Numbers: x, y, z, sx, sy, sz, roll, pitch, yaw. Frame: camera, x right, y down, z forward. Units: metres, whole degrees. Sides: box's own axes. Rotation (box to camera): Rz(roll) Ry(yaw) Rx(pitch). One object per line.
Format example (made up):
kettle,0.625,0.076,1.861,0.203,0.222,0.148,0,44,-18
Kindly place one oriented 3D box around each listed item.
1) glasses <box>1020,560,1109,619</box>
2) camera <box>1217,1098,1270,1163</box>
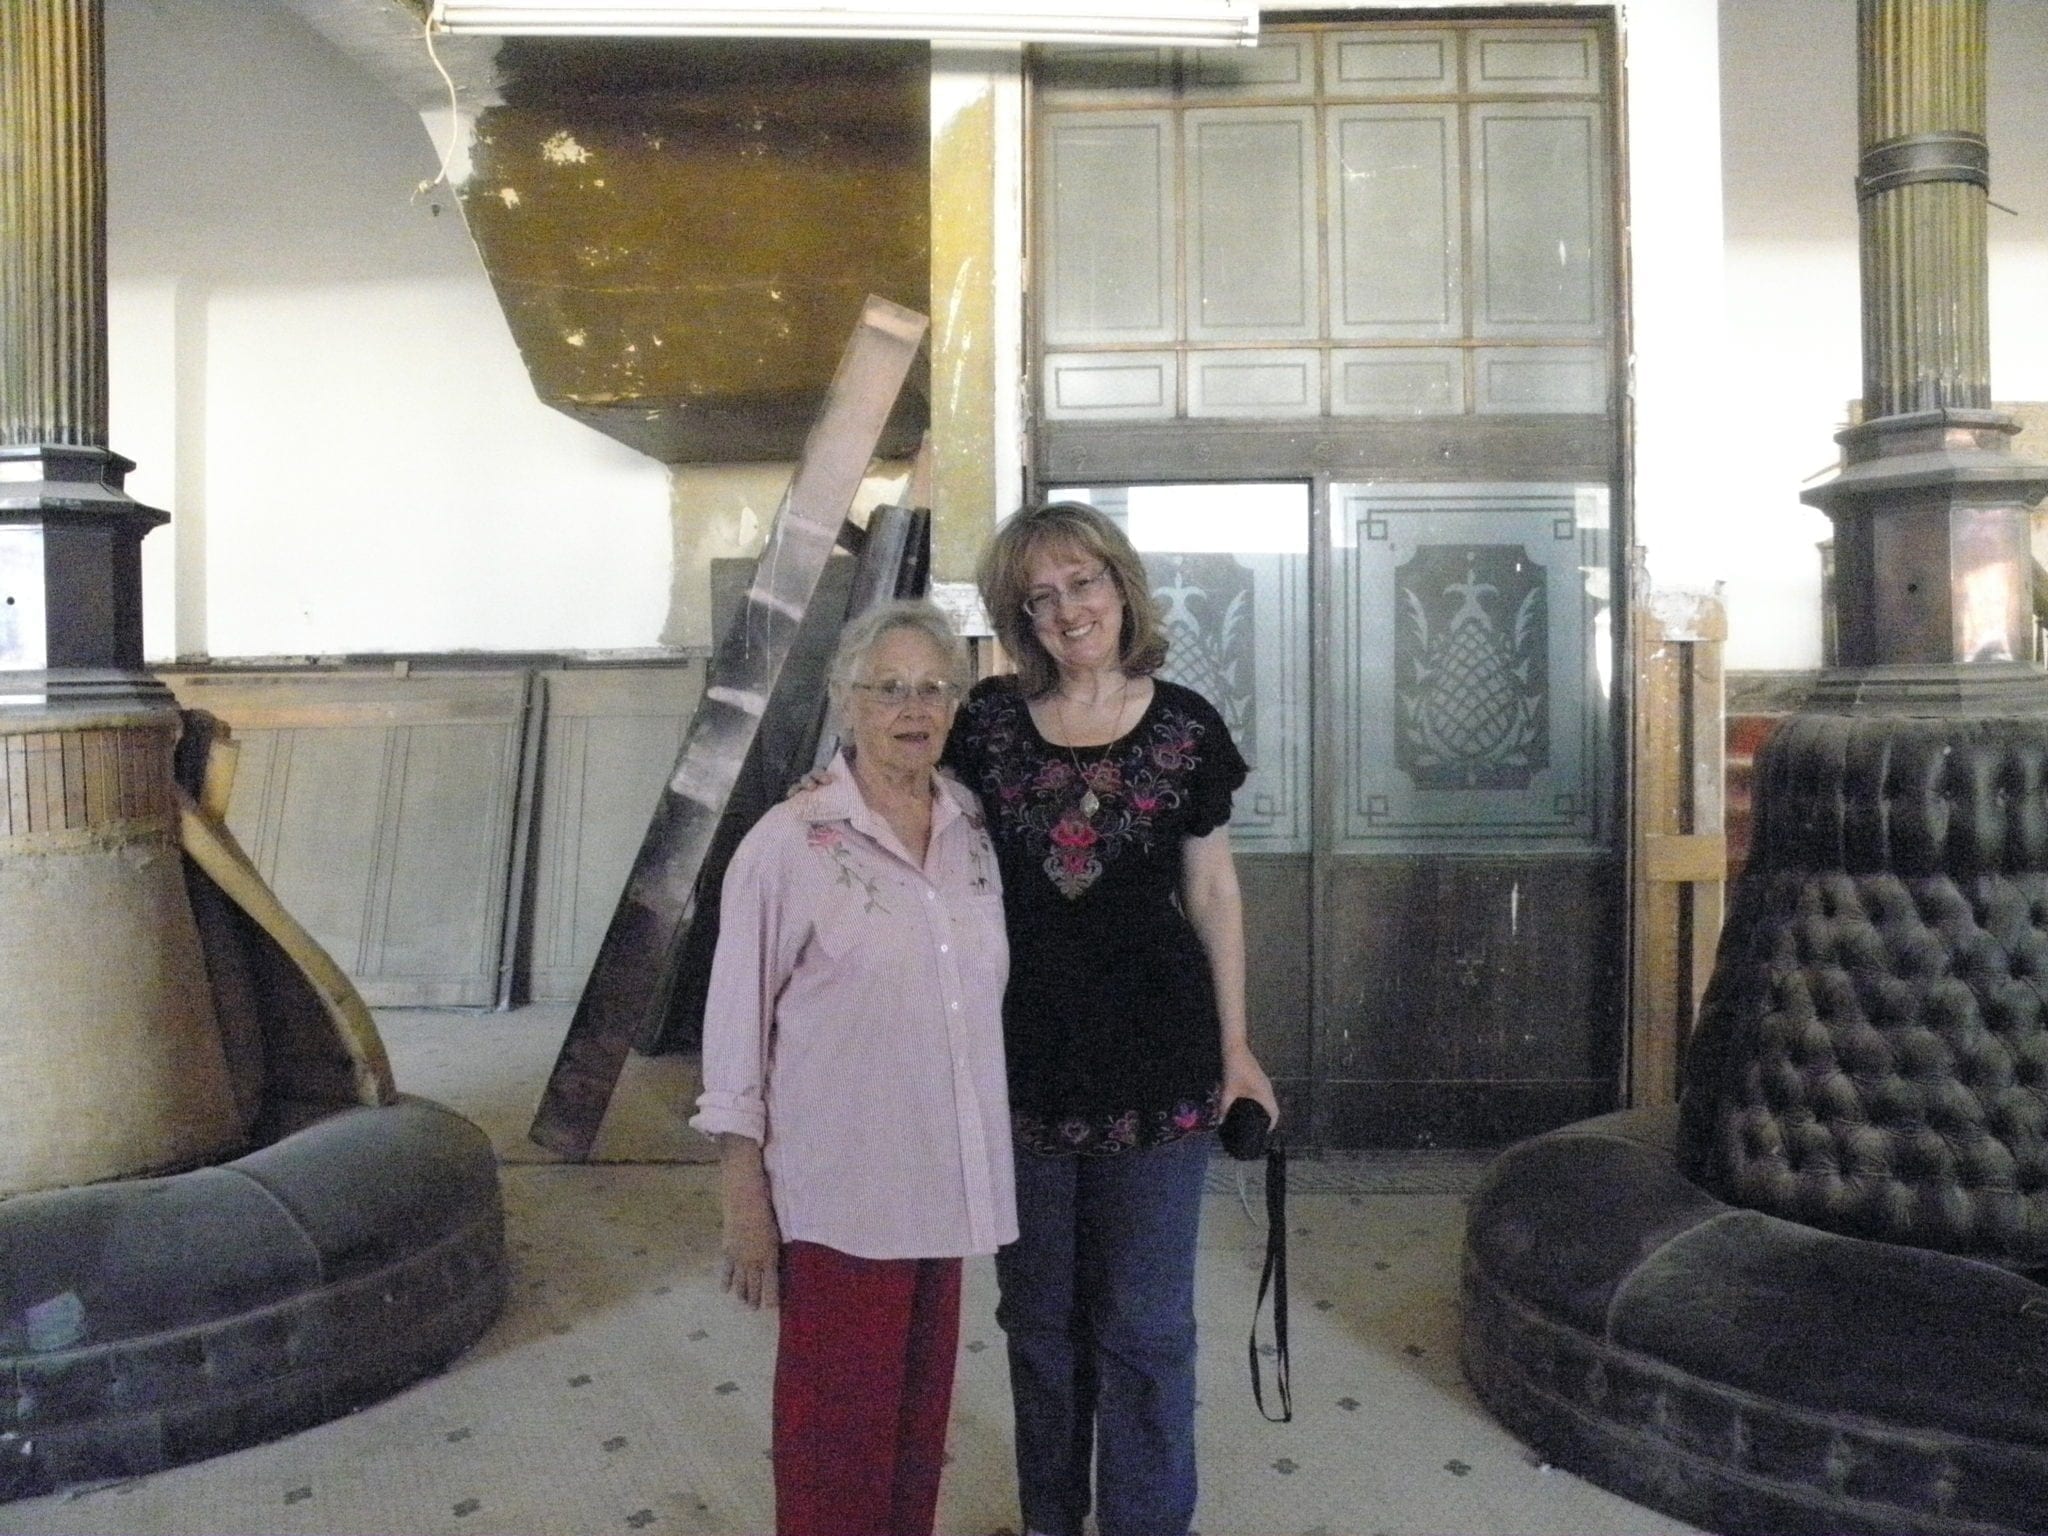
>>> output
glasses,0.088,-0.394,4.536,0.125,0.046,0.134,-14,-16,1
camera,0.509,0.842,4.598,0.122,0.126,0.180,-14,-7,-5
